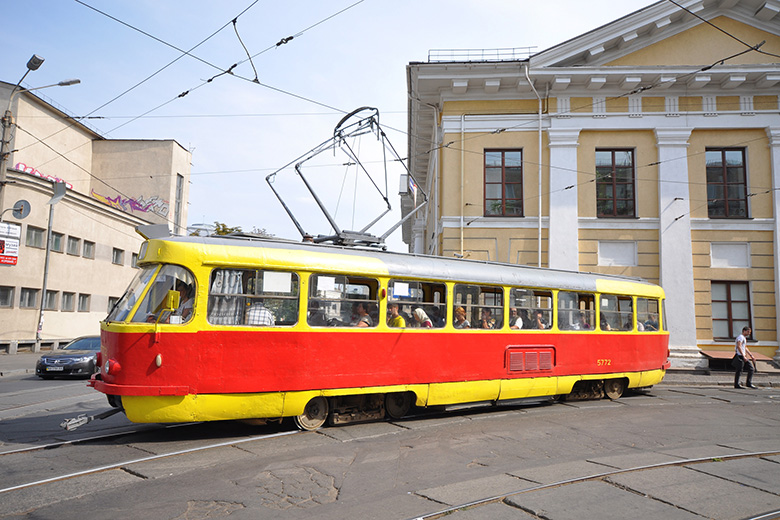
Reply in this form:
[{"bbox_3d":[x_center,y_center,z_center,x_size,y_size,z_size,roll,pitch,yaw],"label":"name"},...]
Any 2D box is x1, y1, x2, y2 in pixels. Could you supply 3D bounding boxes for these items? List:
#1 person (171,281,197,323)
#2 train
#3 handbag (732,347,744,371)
[{"bbox_3d":[-4.070,0.792,12.377,0.560,0.716,0.255,8,0,37],"label":"person"},{"bbox_3d":[0.994,1.475,16.624,15.788,3.683,4.976,5,-10,-28],"label":"train"},{"bbox_3d":[11.221,3.160,19.827,0.375,0.913,0.305,0,4,-11],"label":"handbag"}]
